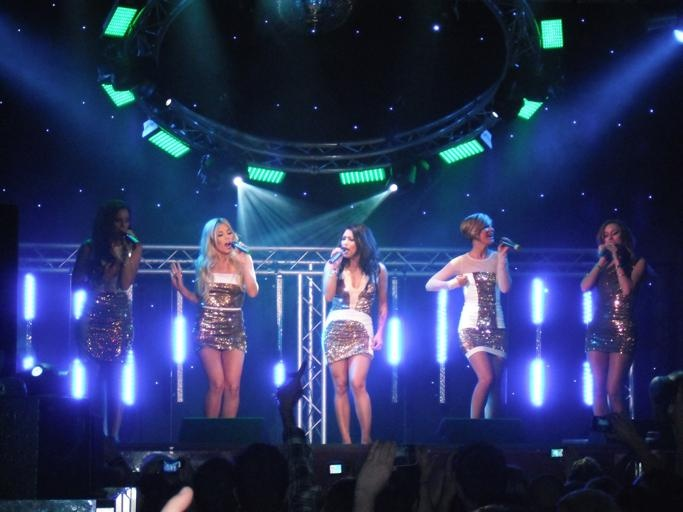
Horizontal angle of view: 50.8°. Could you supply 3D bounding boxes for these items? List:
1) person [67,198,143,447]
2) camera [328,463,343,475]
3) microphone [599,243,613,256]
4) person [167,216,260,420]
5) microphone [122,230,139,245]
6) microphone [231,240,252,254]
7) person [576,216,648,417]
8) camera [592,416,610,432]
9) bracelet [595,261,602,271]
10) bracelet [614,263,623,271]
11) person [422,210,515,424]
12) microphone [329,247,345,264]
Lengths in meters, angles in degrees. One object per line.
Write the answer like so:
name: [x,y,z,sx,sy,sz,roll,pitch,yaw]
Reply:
person: [-2.509,0.655,7.540,0.659,2.407,0.522,5,-16,-21]
camera: [-0.058,1.904,6.386,0.152,0.113,0.087,0,-11,4]
microphone: [3.017,-0.069,8.212,0.116,0.141,0.223,3,9,35]
person: [-1.388,0.675,8.053,0.839,2.225,0.426,0,-15,-2]
microphone: [-2.241,-0.172,7.688,0.127,0.149,0.525,-6,13,-21]
microphone: [-1.159,-0.089,8.154,0.182,0.150,0.229,2,-17,-9]
person: [3.082,0.682,8.095,0.730,2.127,0.349,-9,-17,28]
camera: [2.303,1.492,6.380,0.131,0.138,0.104,-3,-1,30]
bracelet: [2.947,0.115,8.247,0.082,0.063,0.085,-5,-7,16]
bracelet: [3.112,0.126,8.071,0.064,0.064,0.065,-1,-19,5]
person: [1.534,0.663,8.101,0.845,2.309,0.576,-3,-15,7]
microphone: [-0.048,0.001,7.849,0.168,0.168,0.138,0,-16,-3]
